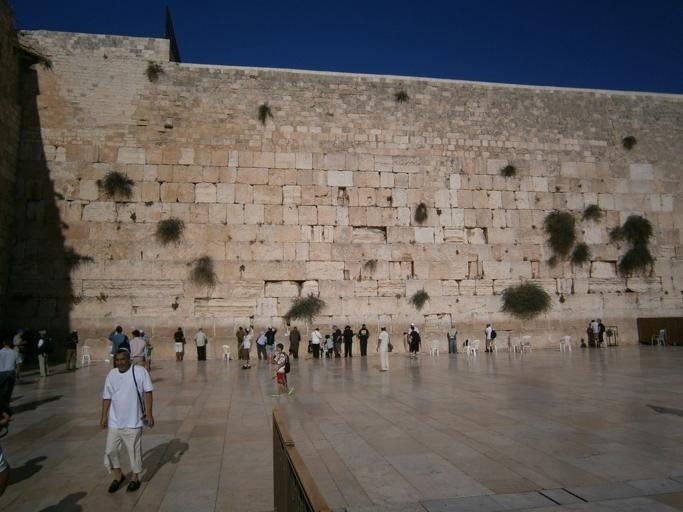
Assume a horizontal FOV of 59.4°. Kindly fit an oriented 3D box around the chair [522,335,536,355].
[{"bbox_3d":[6.424,3.040,20.817,0.504,0.796,0.568,0,-20,7],"label":"chair"}]

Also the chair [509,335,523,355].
[{"bbox_3d":[6.043,3.098,20.975,0.437,0.597,0.453,8,-14,-33],"label":"chair"}]

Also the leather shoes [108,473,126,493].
[{"bbox_3d":[-3.300,3.336,8.804,0.104,0.090,0.292,1,19,2],"label":"leather shoes"}]

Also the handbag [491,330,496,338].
[{"bbox_3d":[5.269,2.693,20.725,0.106,0.351,0.632,0,5,21],"label":"handbag"}]

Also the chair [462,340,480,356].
[{"bbox_3d":[4.345,3.067,20.104,0.439,0.326,0.597,1,-3,6],"label":"chair"}]

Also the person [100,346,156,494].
[{"bbox_3d":[-3.208,2.400,8.999,0.727,2.002,0.822,-3,5,-25],"label":"person"}]
